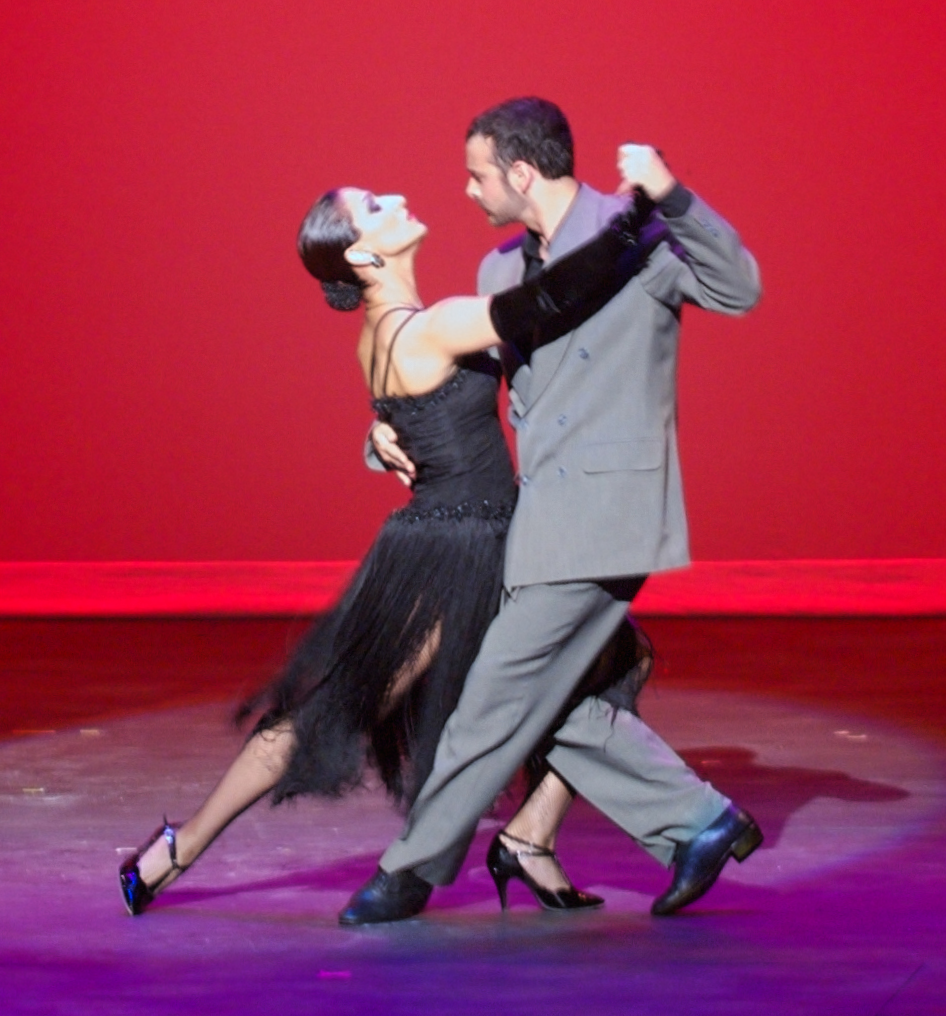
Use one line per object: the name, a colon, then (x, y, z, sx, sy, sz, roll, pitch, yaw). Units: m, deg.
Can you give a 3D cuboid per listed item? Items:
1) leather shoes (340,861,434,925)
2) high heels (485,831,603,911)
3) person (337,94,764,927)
leather shoes: (-0.117, 0.600, 2.196, 0.198, 0.064, 0.061, -3, 3, -25)
high heels: (0.147, 0.594, 2.260, 0.260, 0.124, 0.083, 3, -8, -6)
person: (0.137, 0.019, 2.132, 0.659, 1.272, 0.461, 4, -4, 10)
